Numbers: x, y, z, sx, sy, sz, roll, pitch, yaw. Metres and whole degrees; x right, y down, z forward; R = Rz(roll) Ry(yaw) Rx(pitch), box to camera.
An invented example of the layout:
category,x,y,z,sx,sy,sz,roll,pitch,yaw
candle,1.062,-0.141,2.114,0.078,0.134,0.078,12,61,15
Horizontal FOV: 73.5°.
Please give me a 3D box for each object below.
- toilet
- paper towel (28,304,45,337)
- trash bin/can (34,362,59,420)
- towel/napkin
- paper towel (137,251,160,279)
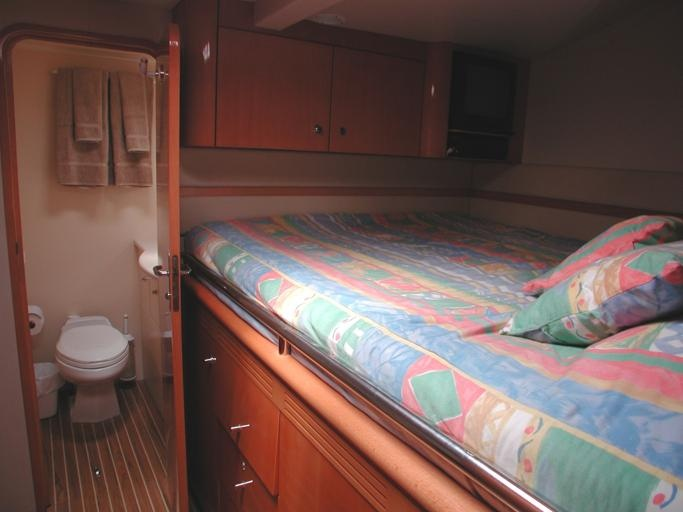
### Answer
category,x,y,z,sx,sy,sz,roll,pitch,yaw
toilet,-1.647,0.753,3.014,0.419,0.573,0.557,-3,19,-37
paper towel,-1.906,0.418,2.837,0.077,0.223,0.214,-6,12,-29
trash bin/can,-1.885,0.862,2.933,0.132,0.336,0.195,-7,13,-34
towel/napkin,-1.483,-0.801,2.782,0.664,0.862,0.112,-4,13,-27
paper towel,-1.138,0.044,2.681,0.110,0.064,0.147,-15,35,-33
